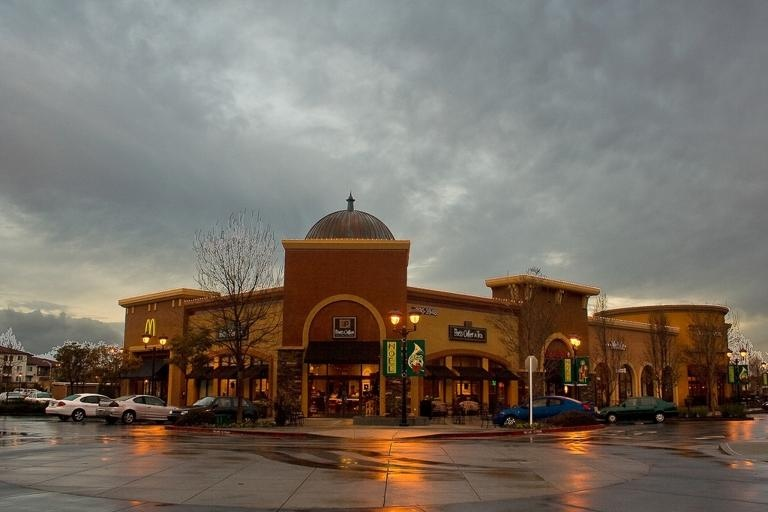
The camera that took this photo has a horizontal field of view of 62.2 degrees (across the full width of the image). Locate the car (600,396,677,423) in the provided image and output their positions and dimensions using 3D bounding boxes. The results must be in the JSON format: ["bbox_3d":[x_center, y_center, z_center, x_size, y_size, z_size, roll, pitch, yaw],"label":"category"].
[{"bbox_3d":[16.390,9.922,41.068,4.857,1.674,1.205,3,-16,-12],"label":"car"}]

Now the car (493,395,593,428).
[{"bbox_3d":[9.075,8.736,36.133,5.777,1.773,2.637,8,-19,-26],"label":"car"}]
